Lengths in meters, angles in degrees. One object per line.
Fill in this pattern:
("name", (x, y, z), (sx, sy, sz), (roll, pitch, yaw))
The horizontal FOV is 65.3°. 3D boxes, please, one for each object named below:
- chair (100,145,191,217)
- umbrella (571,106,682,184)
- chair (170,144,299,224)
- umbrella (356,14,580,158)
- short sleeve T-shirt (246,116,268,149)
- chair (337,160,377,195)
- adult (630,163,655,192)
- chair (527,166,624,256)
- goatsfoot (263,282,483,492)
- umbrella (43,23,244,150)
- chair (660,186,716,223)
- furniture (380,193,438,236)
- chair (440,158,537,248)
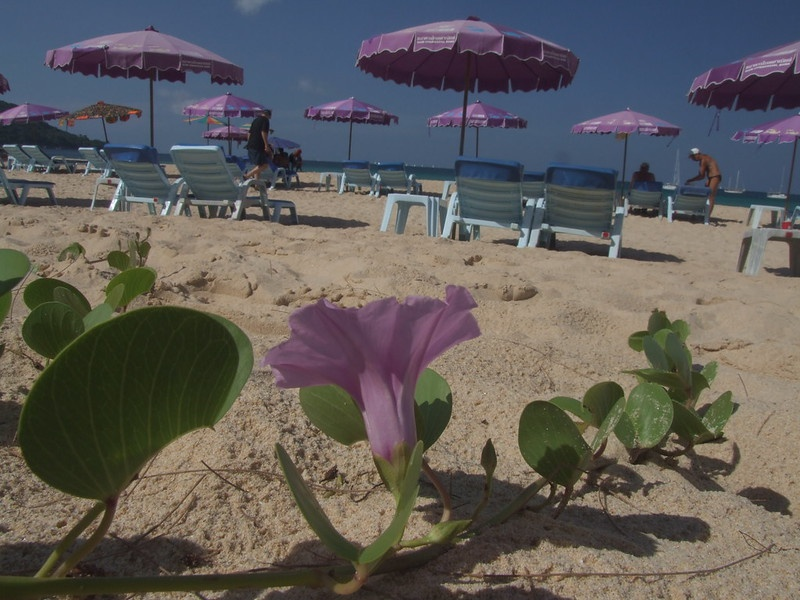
("chair", (-2.814, -1.275, 7.084), (0.763, 0.730, 1.090), (5, 5, 21))
("umbrella", (4.913, -3.252, 13.740), (2.081, 1.926, 2.104), (-5, 21, -11))
("chair", (-2.115, -1.371, 7.428), (1.123, 0.846, 2.425), (1, 13, -21))
("umbrella", (0.771, -2.469, 7.557), (2.472, 1.485, 2.802), (5, 12, 0))
("short sleeve T-shirt", (-2.148, -2.498, 9.437), (0.174, 0.490, 0.462), (-5, 15, -40))
("chair", (-0.897, -2.756, 14.118), (0.671, 0.718, 1.027), (2, 24, 5))
("adult", (4.580, -2.295, 11.739), (0.410, 0.478, 1.360), (9, 13, 18))
("chair", (1.655, -0.830, 5.775), (0.695, 0.934, 1.069), (6, 34, 16))
("goatsfoot", (-0.047, 0.105, 1.158), (0.316, 0.273, 0.364), (-4, -1, -12))
("umbrella", (-3.760, -3.139, 9.428), (2.481, 1.873, 2.655), (1, 17, -7))
("chair", (5.390, -1.787, 11.761), (0.693, 0.716, 1.037), (4, 16, 12))
("furniture", (0.152, -0.932, 6.200), (0.576, 0.480, 0.611), (5, -8, 6))
("chair", (0.869, -1.026, 6.138), (0.641, 0.777, 0.964), (5, 24, 13))
